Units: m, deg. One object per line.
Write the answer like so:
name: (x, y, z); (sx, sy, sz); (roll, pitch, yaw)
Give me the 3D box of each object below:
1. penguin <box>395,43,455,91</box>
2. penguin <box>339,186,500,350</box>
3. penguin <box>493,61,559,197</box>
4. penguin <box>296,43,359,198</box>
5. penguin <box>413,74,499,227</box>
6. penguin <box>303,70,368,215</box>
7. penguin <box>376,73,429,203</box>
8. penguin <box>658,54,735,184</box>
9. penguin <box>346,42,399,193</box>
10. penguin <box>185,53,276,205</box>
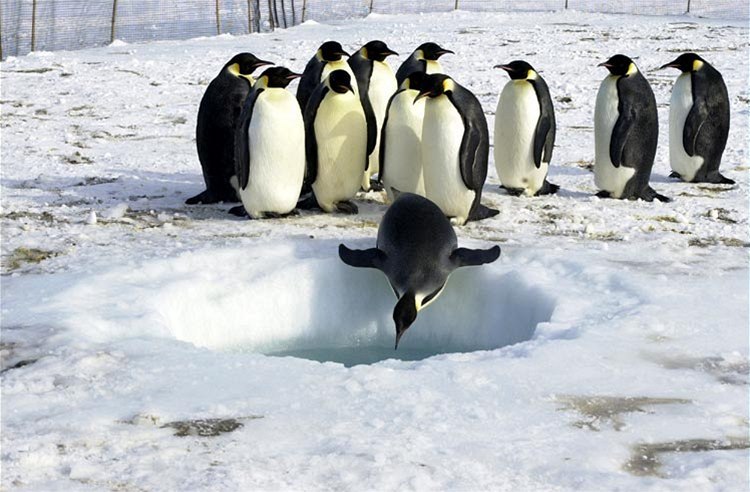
penguin: (0.480, -1.568, 7.822); (0.591, 0.381, 0.398); (2, 22, 29)
penguin: (0.249, 0.068, 5.691); (0.990, 0.354, 1.094); (-1, 29, -2)
penguin: (1.276, -0.982, 7.481); (0.563, 1.129, 0.355); (3, 13, 6)
penguin: (-0.348, -1.300, 7.644); (0.614, 0.831, 0.548); (-22, 27, -41)
penguin: (0.535, -0.757, 6.916); (0.735, 1.059, 0.816); (9, 14, 34)
penguin: (-0.319, -0.812, 6.988); (0.469, 1.117, 0.182); (0, 13, -4)
penguin: (0.299, -0.857, 6.929); (0.555, 0.982, 0.805); (3, 21, -5)
penguin: (2.827, -1.119, 7.872); (0.832, 1.134, 0.658); (6, 41, 4)
penguin: (-0.310, -1.151, 7.777); (0.634, 1.206, 0.766); (4, 42, 8)
penguin: (-1.093, -0.992, 7.482); (1.053, 1.189, 0.877); (0, 12, 20)
